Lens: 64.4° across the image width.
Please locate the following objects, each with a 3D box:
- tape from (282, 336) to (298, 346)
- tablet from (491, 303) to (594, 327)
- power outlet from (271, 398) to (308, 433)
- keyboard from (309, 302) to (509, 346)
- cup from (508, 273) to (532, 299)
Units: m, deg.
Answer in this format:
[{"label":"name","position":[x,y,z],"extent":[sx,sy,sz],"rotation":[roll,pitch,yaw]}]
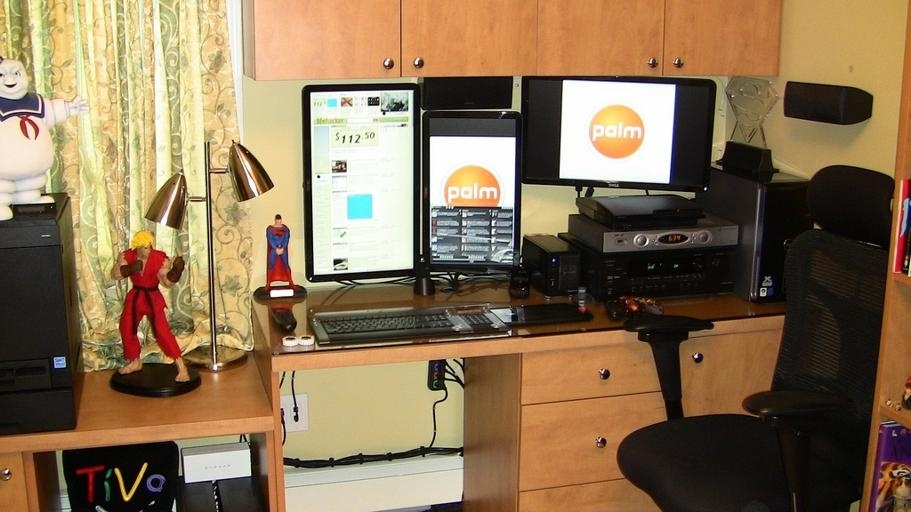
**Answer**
[{"label":"tape","position":[-0.700,0.365,3.075],"extent":[0.074,0.023,0.073],"rotation":[-6,14,-12]},{"label":"tablet","position":[0.387,0.271,3.293],"extent":[0.295,0.028,0.166],"rotation":[-3,17,-13]},{"label":"power outlet","position":[-0.821,0.809,3.717],"extent":[0.170,0.173,0.016],"rotation":[-9,-19,19]},{"label":"keyboard","position":[-0.204,0.306,3.236],"extent":[0.873,0.086,0.273],"rotation":[-4,14,-7]},{"label":"cup","position":[0.312,0.158,3.532],"extent":[0.085,0.132,0.041],"rotation":[1,-16,4]}]
